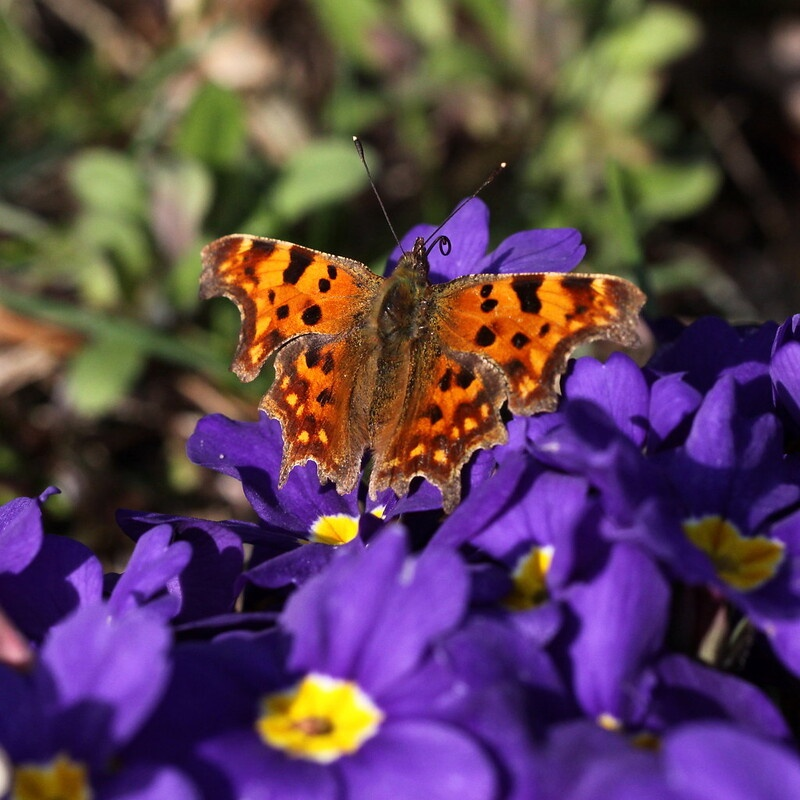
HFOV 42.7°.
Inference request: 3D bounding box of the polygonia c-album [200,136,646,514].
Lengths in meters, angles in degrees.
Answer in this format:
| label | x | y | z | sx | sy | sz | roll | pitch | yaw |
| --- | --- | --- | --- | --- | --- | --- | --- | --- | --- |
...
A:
| label | x | y | z | sx | sy | sz | roll | pitch | yaw |
| --- | --- | --- | --- | --- | --- | --- | --- | --- | --- |
| polygonia c-album | 0.005 | -0.057 | 1.364 | 0.523 | 0.462 | 0.075 | 4 | -24 | 22 |
